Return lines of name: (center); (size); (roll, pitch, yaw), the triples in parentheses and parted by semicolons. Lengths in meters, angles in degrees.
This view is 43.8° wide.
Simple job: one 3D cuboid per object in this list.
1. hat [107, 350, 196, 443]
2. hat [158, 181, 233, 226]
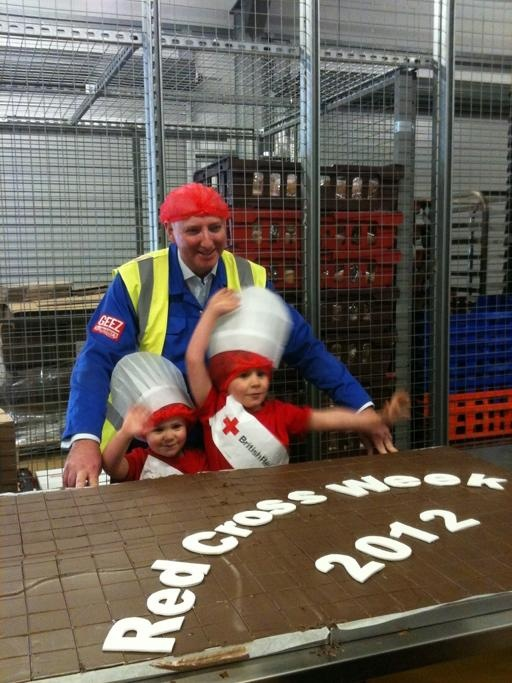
hat: (-0.273, 0.111, 1.520); (0.222, 0.212, 0.165); (-4, 37, -20)
hat: (-0.153, -0.354, 1.587); (0.148, 0.112, 0.106); (-10, 23, -27)
